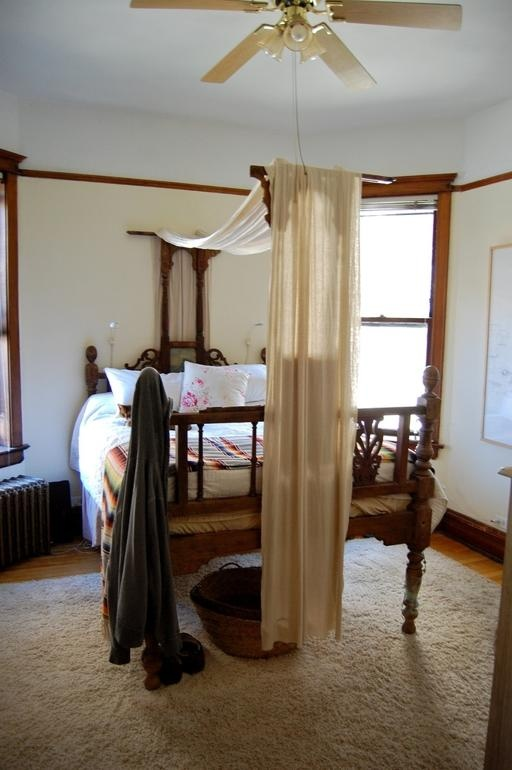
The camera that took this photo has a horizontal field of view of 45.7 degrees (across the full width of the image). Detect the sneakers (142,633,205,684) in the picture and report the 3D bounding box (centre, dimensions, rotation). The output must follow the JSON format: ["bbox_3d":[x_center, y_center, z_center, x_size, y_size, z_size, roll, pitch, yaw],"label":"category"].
[{"bbox_3d":[-0.357,1.081,2.419,0.123,0.156,0.361,1,-9,-32],"label":"sneakers"}]

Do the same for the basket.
[{"bbox_3d":[-0.081,0.974,2.601,0.406,0.186,0.332,5,6,44],"label":"basket"}]

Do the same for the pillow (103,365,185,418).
[{"bbox_3d":[-0.723,0.009,3.934,0.405,0.112,0.391,4,23,-11],"label":"pillow"}]

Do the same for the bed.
[{"bbox_3d":[0.079,0.446,2.944,1.220,0.922,1.356,-2,3,-20],"label":"bed"}]
